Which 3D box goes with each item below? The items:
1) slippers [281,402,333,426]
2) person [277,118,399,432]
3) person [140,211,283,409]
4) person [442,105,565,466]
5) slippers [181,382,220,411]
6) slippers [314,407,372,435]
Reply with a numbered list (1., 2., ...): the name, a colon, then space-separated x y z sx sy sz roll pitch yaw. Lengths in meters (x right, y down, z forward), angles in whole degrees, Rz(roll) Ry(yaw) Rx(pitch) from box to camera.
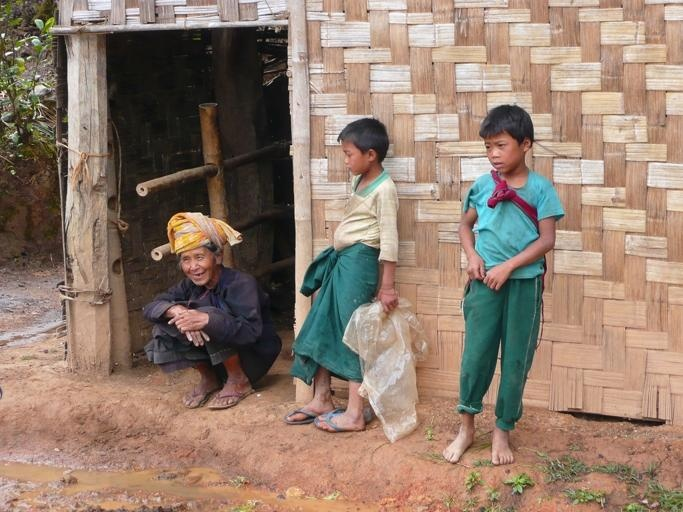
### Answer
1. slippers: -0.220 1.084 5.182 0.256 0.068 0.139 -5 9 -24
2. person: 0.016 0.120 5.063 0.733 2.061 0.374 2 7 8
3. person: -0.939 0.363 5.591 0.853 1.375 0.931 -4 3 18
4. person: 0.951 0.195 4.461 0.621 2.127 0.336 3 7 17
5. slippers: -1.031 1.027 5.527 0.102 0.106 0.240 3 4 28
6. slippers: 0.047 1.097 5.095 0.287 0.077 0.170 1 18 -10
